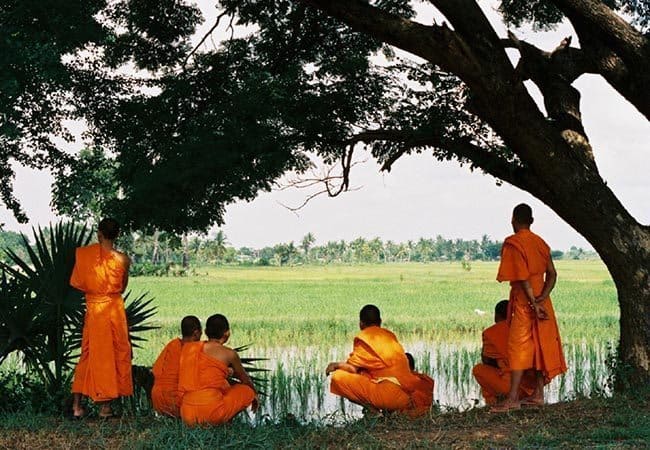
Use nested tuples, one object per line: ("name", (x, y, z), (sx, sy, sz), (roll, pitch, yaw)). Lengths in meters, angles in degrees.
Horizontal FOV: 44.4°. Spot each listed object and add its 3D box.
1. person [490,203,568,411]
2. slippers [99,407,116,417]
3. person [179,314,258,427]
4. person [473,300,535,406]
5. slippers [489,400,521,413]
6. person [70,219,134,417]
("person", (2.973, 1.183, 11.669), (0.943, 3.005, 0.517), (-3, -7, 14))
("slippers", (-3.246, 2.775, 11.782), (0.155, 0.123, 0.164), (3, 1, -3))
("person", (-1.574, 2.055, 11.351), (1.033, 1.535, 0.385), (0, -7, -11))
("person", (2.856, 2.045, 12.360), (0.948, 1.760, 0.852), (-2, 3, -42))
("slippers", (2.637, 2.641, 11.551), (0.358, 0.161, 0.196), (1, -7, 5))
("person", (-3.261, 1.219, 11.619), (0.864, 2.605, 0.374), (1, -7, -17))
